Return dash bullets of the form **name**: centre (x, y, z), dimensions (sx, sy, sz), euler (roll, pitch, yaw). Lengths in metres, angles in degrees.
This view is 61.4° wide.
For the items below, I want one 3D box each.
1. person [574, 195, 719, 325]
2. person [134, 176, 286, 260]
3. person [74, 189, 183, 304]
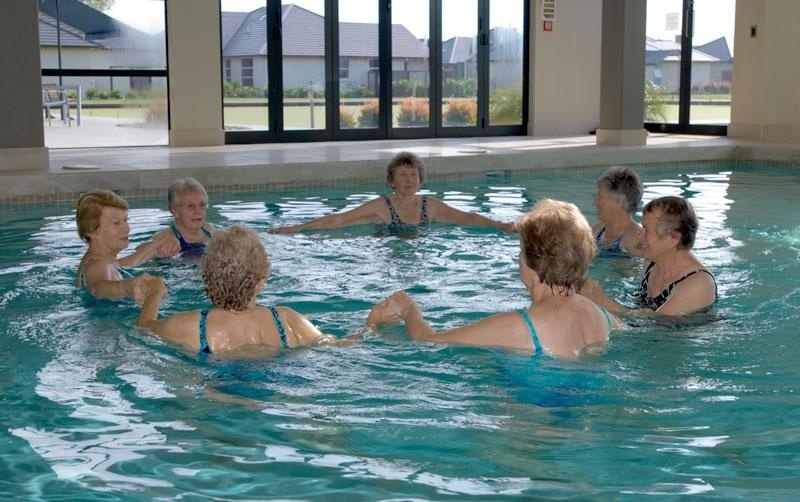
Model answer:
- **person**: centre (1.649, -0.016, 5.137), dimensions (1.096, 0.944, 0.821), euler (-2, 10, 0)
- **person**: centre (-2.015, -0.263, 6.528), dimensions (0.613, 0.857, 1.349), euler (7, 12, 35)
- **person**: centre (-2.316, -0.012, 5.780), dimensions (0.674, 0.729, 1.008), euler (-2, 17, -11)
